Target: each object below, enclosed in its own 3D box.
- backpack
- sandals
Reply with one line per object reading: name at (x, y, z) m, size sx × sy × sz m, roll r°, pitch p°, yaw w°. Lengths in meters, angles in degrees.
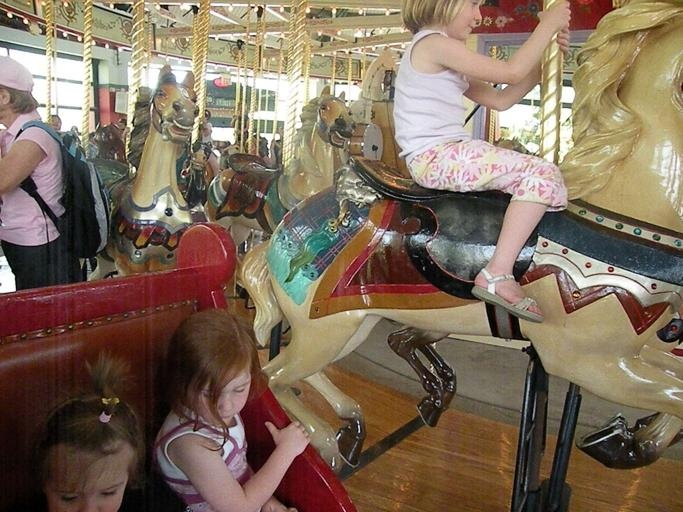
backpack at (-1.111, -0.273, 2.550) m, size 0.353 × 0.563 × 0.529 m, roll 11°, pitch 7°, yaw 40°
sandals at (0.539, 0.129, 1.899) m, size 0.258 × 0.125 × 0.116 m, roll 25°, pitch 0°, yaw 0°
